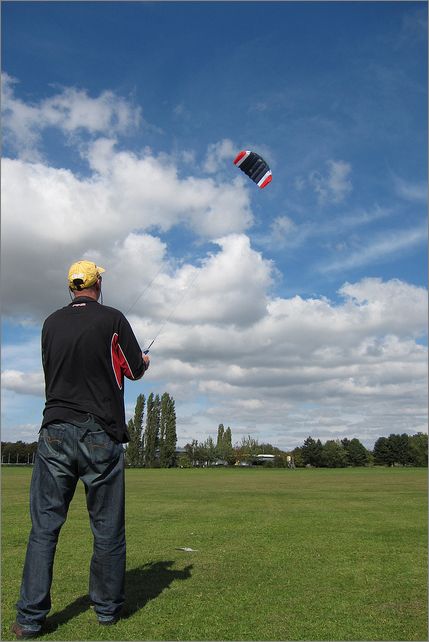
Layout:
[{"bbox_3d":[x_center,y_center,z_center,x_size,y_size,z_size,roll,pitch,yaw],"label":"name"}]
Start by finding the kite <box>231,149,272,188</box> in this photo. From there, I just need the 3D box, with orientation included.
[{"bbox_3d":[0.853,-3.361,11.483,0.751,0.895,0.405,-11,-13,43],"label":"kite"}]

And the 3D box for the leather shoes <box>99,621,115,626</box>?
[{"bbox_3d":[-0.752,2.149,3.616,0.041,0.045,0.114,21,-41,-27],"label":"leather shoes"}]

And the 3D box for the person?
[{"bbox_3d":[-1.021,0.826,3.870,0.885,2.740,0.488,7,-13,-41],"label":"person"}]

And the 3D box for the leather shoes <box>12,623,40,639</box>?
[{"bbox_3d":[-1.253,2.047,3.374,0.193,0.087,0.107,0,-10,-11],"label":"leather shoes"}]
